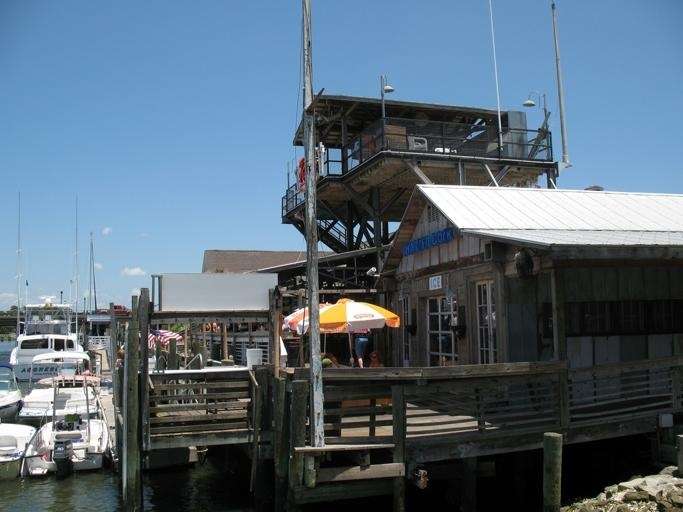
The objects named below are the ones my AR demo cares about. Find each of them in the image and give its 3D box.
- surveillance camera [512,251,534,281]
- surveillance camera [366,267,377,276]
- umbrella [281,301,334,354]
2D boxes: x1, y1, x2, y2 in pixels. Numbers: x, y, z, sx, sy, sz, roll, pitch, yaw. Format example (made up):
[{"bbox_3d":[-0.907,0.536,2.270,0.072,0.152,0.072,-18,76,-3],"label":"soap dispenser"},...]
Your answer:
[{"bbox_3d":[4.092,0.193,18.580,0.405,0.590,0.234,-5,-6,10],"label":"surveillance camera"},{"bbox_3d":[0.930,0.492,25.398,0.261,0.166,0.347,-1,3,-21],"label":"surveillance camera"},{"bbox_3d":[-0.911,1.819,21.708,1.939,0.805,2.023,-2,-8,-1],"label":"umbrella"}]
